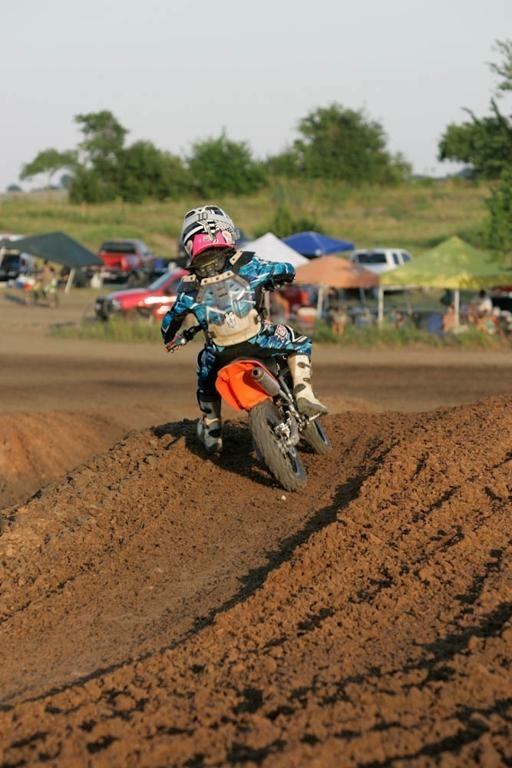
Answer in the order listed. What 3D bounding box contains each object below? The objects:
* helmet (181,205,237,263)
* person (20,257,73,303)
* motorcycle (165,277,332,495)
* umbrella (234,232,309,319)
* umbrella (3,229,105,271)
[{"bbox_3d":[-0.282,-0.929,5.217,0.354,0.344,0.400,-1,11,-4],"label":"helmet"},{"bbox_3d":[-2.996,-1.451,12.089,0.469,0.541,0.871,-2,17,13],"label":"person"},{"bbox_3d":[0.206,0.100,5.476,0.806,0.906,1.457,-31,5,12],"label":"motorcycle"},{"bbox_3d":[0.235,-1.615,12.099,1.446,0.443,1.050,16,34,30],"label":"umbrella"},{"bbox_3d":[-2.510,-1.693,10.728,0.681,0.468,1.384,5,12,29],"label":"umbrella"}]
